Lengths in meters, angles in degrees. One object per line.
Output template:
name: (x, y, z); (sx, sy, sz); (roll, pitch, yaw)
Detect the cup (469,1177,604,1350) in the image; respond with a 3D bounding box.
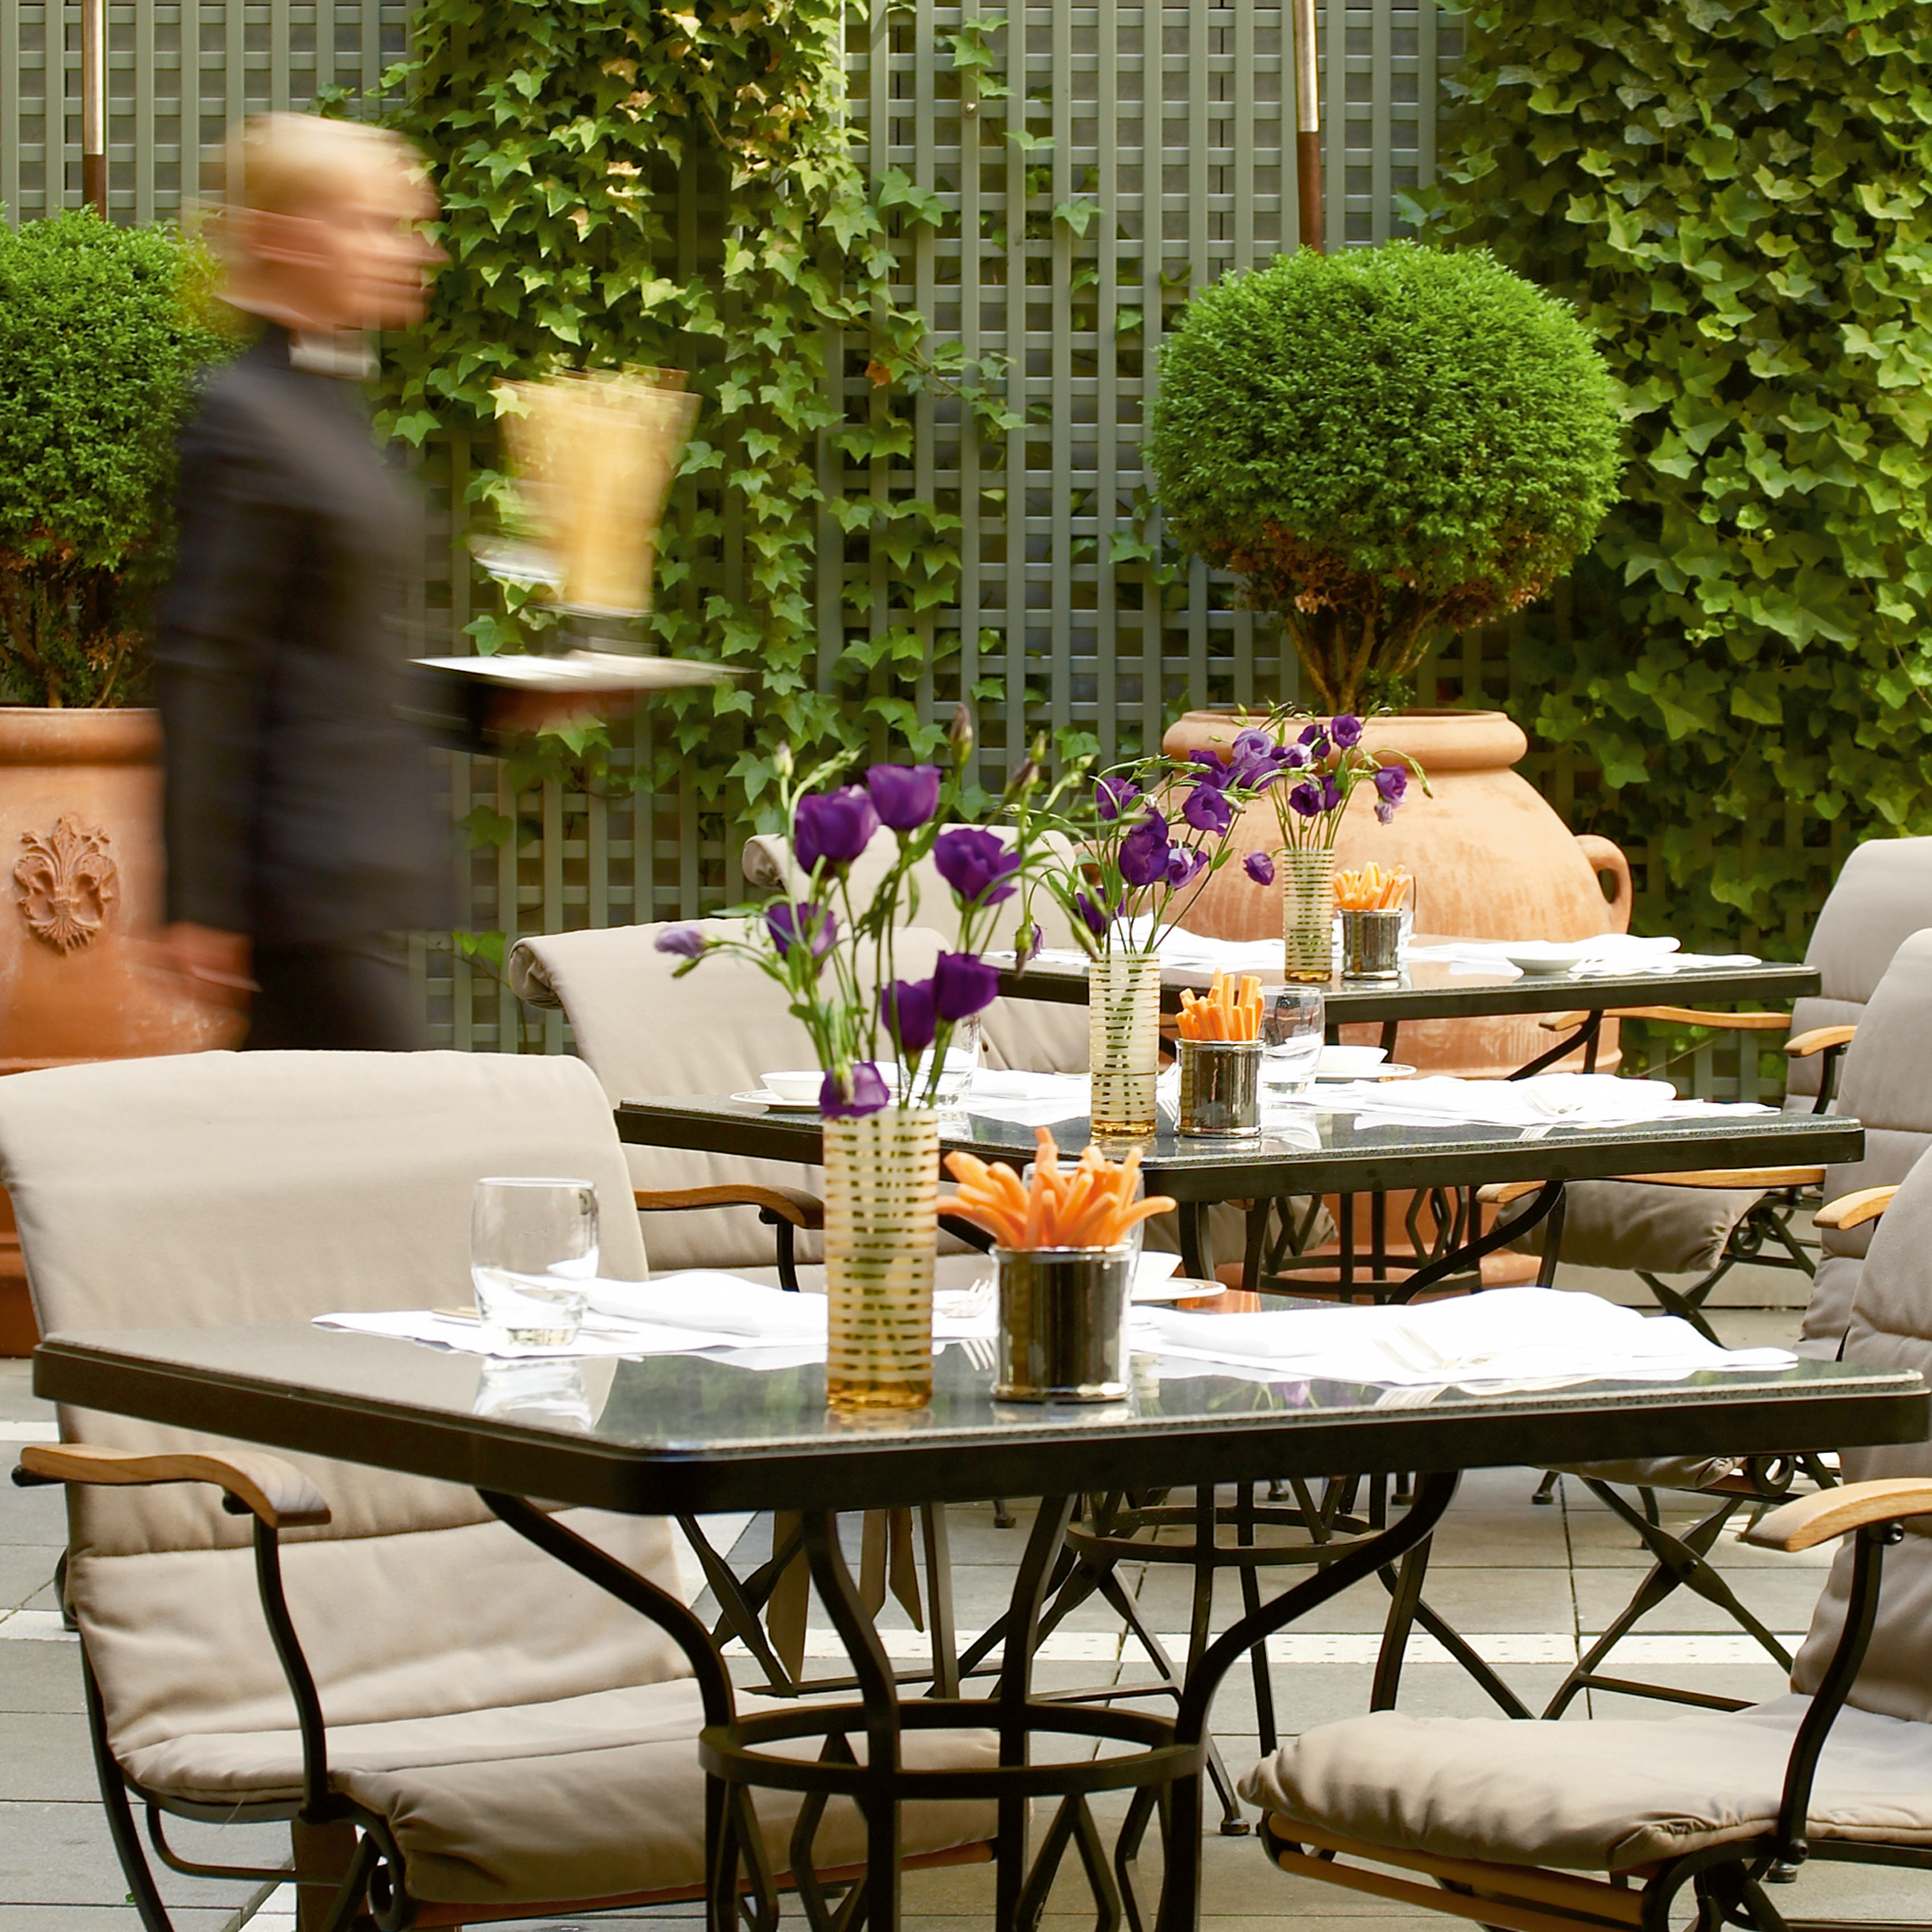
cup: (-0.356, 0.258, 3.749); (0.122, 0.145, 0.123); (-1, -1, 0)

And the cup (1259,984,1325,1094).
cup: (0.389, 0.095, 5.622); (0.103, 0.122, 0.107); (1, -1, 0)

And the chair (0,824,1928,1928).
chair: (-0.182, 0.461, 4.303); (0.958, 1.231, 1.159); (4, -12, -32)

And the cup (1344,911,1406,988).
cup: (0.596, -0.024, 6.511); (0.095, 0.111, 0.098); (0, -3, 0)

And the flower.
flower: (0.058, -0.077, 4.318); (0.518, 0.369, 1.086); (-3, -3, 30)

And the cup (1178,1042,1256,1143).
cup: (0.292, 0.146, 5.126); (0.096, 0.107, 0.098); (0, -1, 0)

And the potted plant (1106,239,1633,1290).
potted plant: (0.773, -0.481, 8.885); (0.947, 1.968, 0.936); (9, 10, 23)

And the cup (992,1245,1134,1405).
cup: (0.080, 0.295, 3.684); (0.117, 0.134, 0.123); (1, -1, 0)
